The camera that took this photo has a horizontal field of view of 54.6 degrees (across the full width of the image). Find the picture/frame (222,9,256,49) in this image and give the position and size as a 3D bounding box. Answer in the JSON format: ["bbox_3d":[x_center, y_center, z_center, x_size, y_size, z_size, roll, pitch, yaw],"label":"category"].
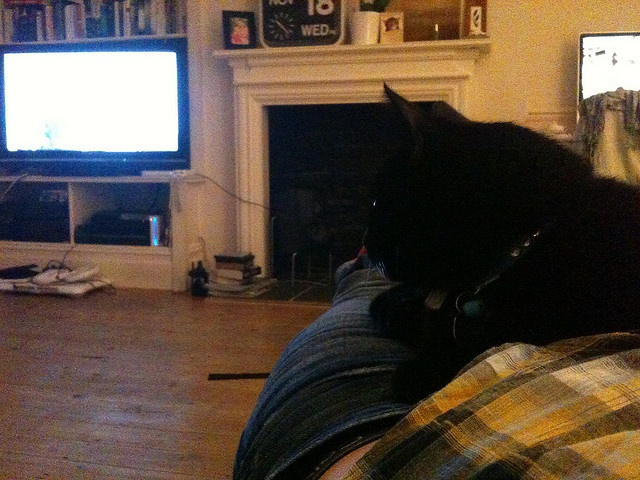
[{"bbox_3d":[-0.436,-1.127,3.322,0.246,0.227,0.027,-8,2,-11],"label":"picture/frame"}]

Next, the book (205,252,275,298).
[{"bbox_3d":[-0.457,0.193,3.390,0.299,0.118,0.270,1,8,8],"label":"book"}]

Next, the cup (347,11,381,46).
[{"bbox_3d":[0.230,-1.082,3.183,0.154,0.183,0.161,0,11,0],"label":"cup"}]
